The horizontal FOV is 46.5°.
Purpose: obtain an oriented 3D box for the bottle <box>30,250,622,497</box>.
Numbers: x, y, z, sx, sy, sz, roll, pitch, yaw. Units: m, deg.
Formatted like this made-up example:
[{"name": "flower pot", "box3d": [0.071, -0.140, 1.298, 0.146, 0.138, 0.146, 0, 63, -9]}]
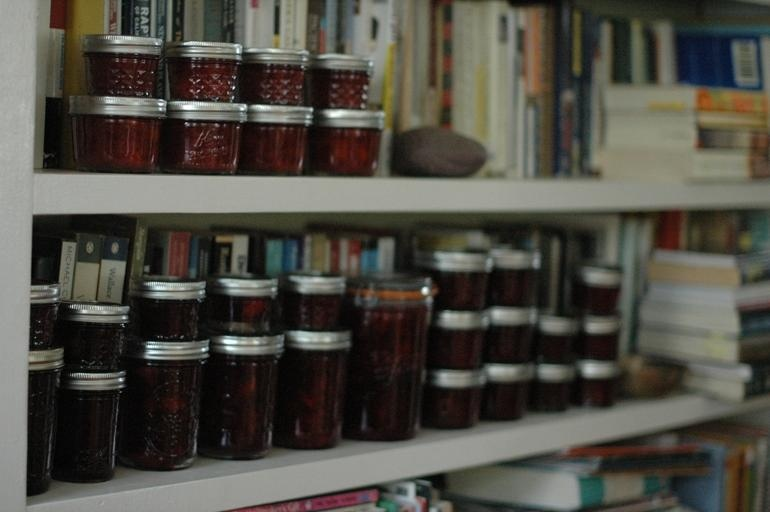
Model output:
[{"name": "bottle", "box3d": [-0.245, 0.149, 1.423, 0.577, 0.291, 0.128, -3, 4, -35]}]
